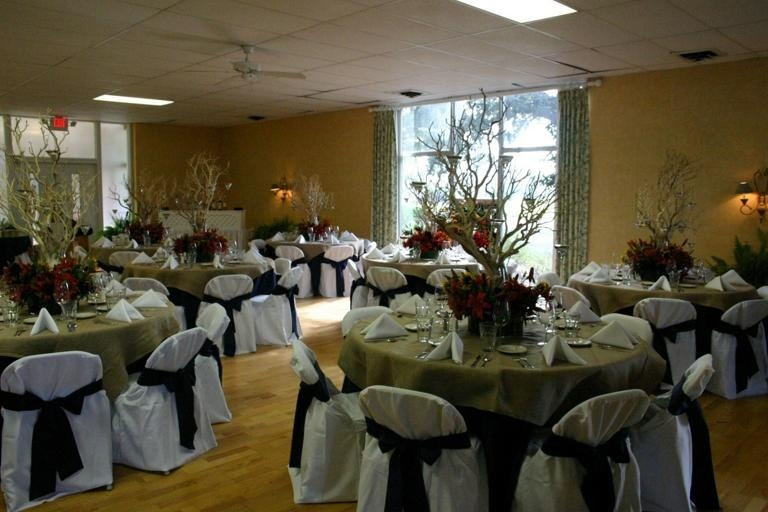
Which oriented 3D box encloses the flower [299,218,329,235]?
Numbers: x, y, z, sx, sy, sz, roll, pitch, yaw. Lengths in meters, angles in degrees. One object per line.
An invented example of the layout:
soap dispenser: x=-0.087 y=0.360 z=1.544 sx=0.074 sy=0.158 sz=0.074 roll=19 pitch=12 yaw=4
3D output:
flower: x=-1.386 y=-0.558 z=11.053 sx=0.577 sy=0.420 sz=0.250 roll=9 pitch=16 yaw=20

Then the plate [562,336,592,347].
plate: x=1.462 y=0.648 z=4.189 sx=0.195 sy=0.029 sz=0.144 roll=2 pitch=14 yaw=9

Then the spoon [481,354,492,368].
spoon: x=0.708 y=0.737 z=3.909 sx=0.031 sy=0.023 sz=0.157 roll=-2 pitch=15 yaw=17

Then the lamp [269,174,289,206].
lamp: x=-2.680 y=-1.678 z=14.189 sx=0.677 sy=0.680 sz=0.209 roll=11 pitch=17 yaw=38

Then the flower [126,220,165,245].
flower: x=-4.175 y=-0.399 z=9.760 sx=0.447 sy=0.336 sz=0.464 roll=-2 pitch=3 yaw=-12

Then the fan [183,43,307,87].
fan: x=-1.725 y=-2.774 z=8.192 sx=1.050 sy=0.447 sz=1.863 roll=-4 pitch=14 yaw=-15
